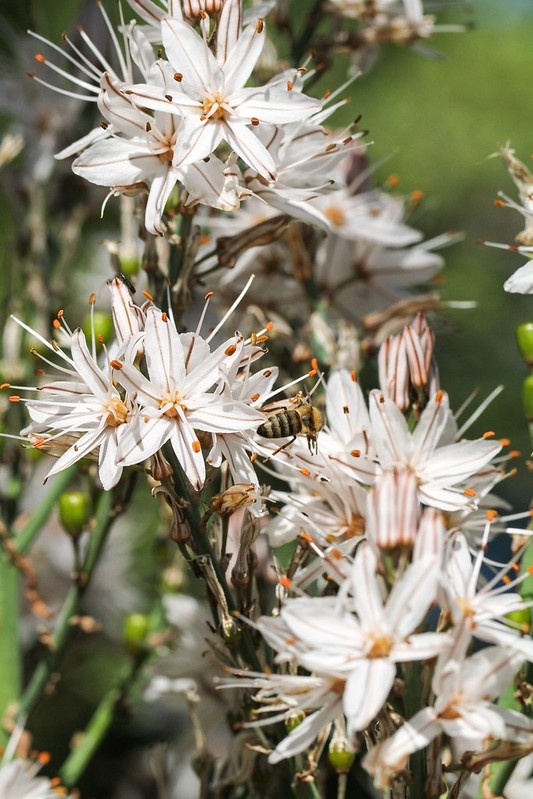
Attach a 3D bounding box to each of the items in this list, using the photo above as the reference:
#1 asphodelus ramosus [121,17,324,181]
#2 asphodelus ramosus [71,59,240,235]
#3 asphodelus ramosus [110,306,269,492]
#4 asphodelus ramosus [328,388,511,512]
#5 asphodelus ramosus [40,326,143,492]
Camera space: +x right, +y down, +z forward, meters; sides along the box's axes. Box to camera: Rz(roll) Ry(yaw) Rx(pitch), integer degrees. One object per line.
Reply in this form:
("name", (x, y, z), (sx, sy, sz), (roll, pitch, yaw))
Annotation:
("asphodelus ramosus", (-0.065, -0.326, 1.055), (0.240, 0.166, 0.225), (-4, 99, -29))
("asphodelus ramosus", (-0.113, -0.352, 1.020), (0.232, 0.170, 0.090), (23, 67, -43))
("asphodelus ramosus", (-0.109, -0.017, 0.941), (0.185, 0.159, 0.187), (-9, 103, -14))
("asphodelus ramosus", (0.174, 0.060, 0.935), (0.157, 0.149, 0.152), (-1, 95, -5))
("asphodelus ramosus", (-0.195, 0.011, 0.933), (0.067, 0.153, 0.164), (5, 82, -27))
